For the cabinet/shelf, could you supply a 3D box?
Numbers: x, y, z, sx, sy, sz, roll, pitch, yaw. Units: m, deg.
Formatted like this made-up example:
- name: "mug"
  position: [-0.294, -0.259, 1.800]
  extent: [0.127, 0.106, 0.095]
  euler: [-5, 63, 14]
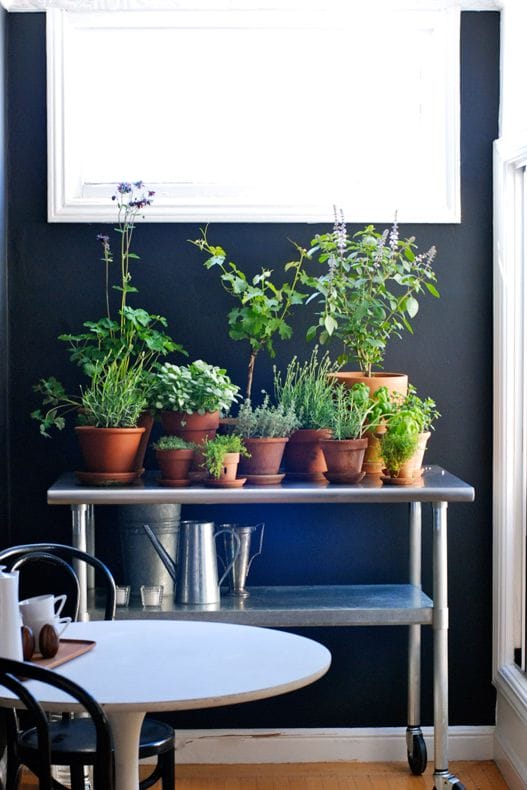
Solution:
- name: "cabinet/shelf"
  position: [-0.012, 0.644, 2.609]
  extent: [1.572, 1.139, 0.947]
  euler: [0, 4, -1]

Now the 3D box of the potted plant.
- name: "potted plant"
  position: [-0.049, -0.303, 2.848]
  extent: [1.867, 1.273, 0.660]
  euler: [0, 5, 3]
